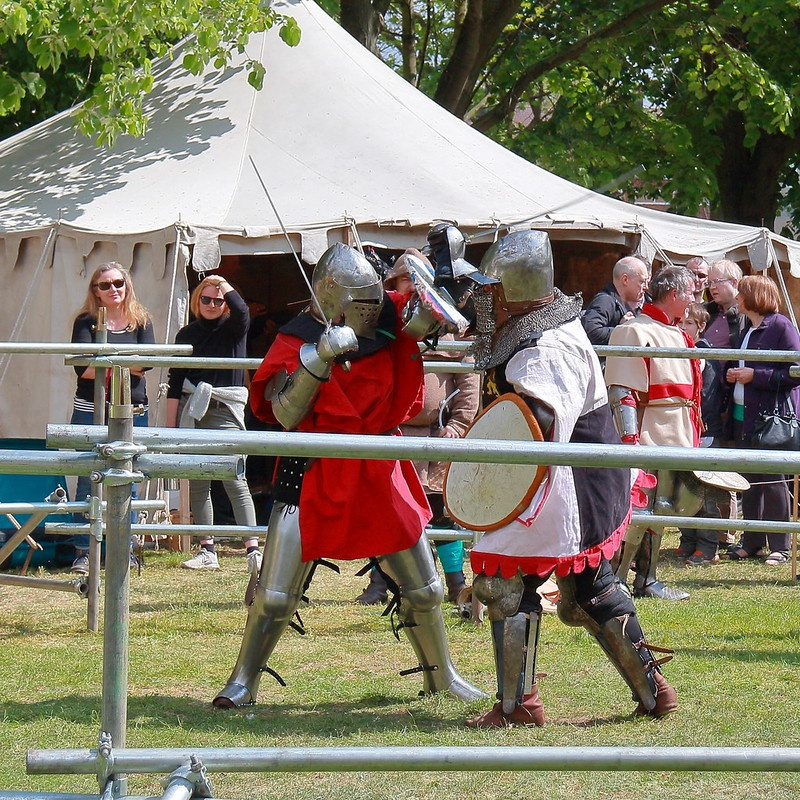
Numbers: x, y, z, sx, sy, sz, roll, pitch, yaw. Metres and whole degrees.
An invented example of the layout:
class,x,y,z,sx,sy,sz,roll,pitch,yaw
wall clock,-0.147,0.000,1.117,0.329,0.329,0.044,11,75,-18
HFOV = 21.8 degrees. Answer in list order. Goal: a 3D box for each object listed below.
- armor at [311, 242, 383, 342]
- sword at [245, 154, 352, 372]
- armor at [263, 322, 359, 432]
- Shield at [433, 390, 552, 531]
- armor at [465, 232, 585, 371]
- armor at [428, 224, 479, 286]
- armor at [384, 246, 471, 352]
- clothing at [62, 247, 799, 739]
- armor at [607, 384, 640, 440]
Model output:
class,x,y,z,sx,sy,sz,roll,pitch,yaw
armor,-0.231,-0.537,9.805,0.380,0.375,0.293,21,25,20
sword,-0.593,-0.871,12.345,0.059,1.628,0.108,-24,4,30
armor,-0.393,-0.100,9.613,0.252,0.482,0.548,2,-1,-31
Shield,0.427,0.278,9.315,0.521,0.625,0.093,36,25,19
armor,0.552,-0.512,9.691,0.624,0.569,0.620,0,23,7
armor,0.232,-0.704,9.790,0.264,0.281,0.240,-11,2,-18
armor,0.138,-0.478,9.603,0.264,0.425,0.416,2,-1,-33
clothing,0.361,0.358,10.649,1.965,2.517,2.587,-1,5,-9
armor,1.187,0.065,11.199,0.111,0.101,0.312,-2,37,-12
